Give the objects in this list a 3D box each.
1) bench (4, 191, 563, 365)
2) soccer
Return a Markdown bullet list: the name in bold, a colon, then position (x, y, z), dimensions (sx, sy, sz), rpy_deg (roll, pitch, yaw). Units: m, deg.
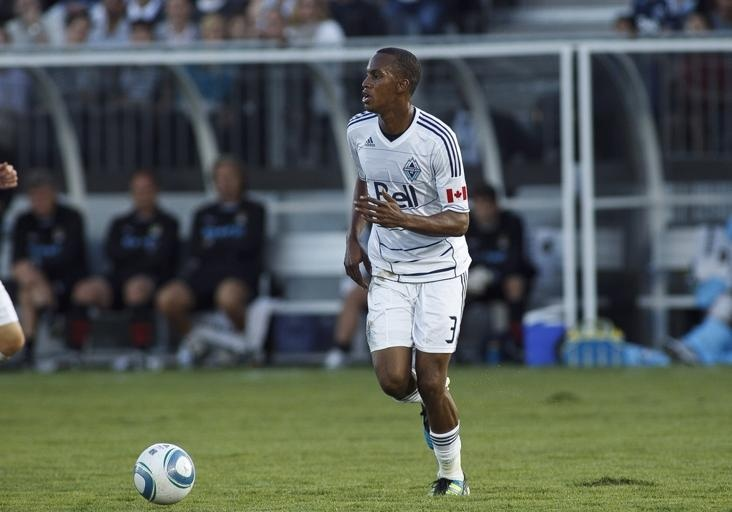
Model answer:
- **bench**: position (-1.318, 0.238, 19.537), dimensions (7.708, 1.045, 1.522), rpy_deg (0, -41, 2)
- **soccer**: position (-1.694, 1.726, 13.139), dimensions (0.565, 0.449, 0.753), rpy_deg (0, 8, -10)
